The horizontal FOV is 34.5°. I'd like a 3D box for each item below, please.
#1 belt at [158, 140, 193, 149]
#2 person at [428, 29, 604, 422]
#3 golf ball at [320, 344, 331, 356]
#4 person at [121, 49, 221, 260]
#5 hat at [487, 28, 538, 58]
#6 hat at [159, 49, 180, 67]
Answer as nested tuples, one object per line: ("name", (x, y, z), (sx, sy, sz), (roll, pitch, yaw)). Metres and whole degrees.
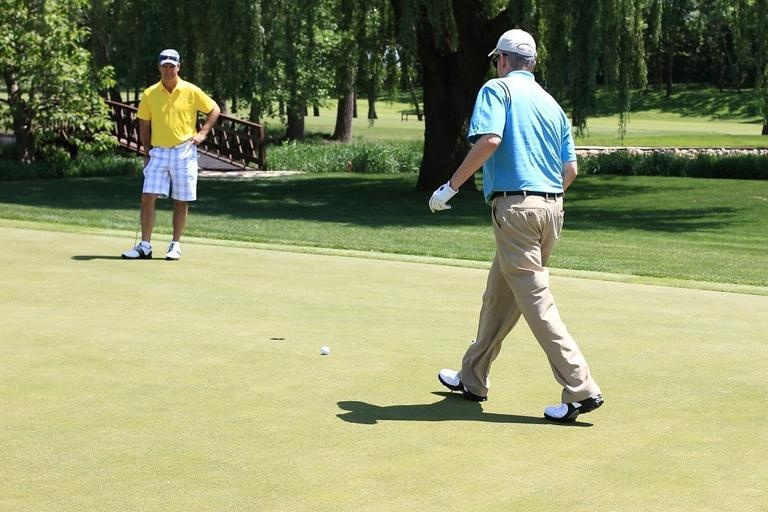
("belt", (-2.766, -1.480, 16.545), (0.434, 0.111, 0.034), (1, 8, -12))
("person", (1.358, -0.345, 12.152), (1.601, 3.721, 1.004), (4, 7, 9))
("golf ball", (-0.599, 0.979, 12.867), (0.089, 0.067, 0.089), (20, -7, 3))
("person", (-2.797, -1.448, 16.560), (0.966, 2.524, 0.513), (1, 7, -11))
("hat", (1.278, -2.078, 12.322), (0.397, 0.202, 0.294), (17, 27, 29))
("hat", (-2.816, -2.593, 16.276), (0.220, 0.196, 0.317), (2, 7, -3))
